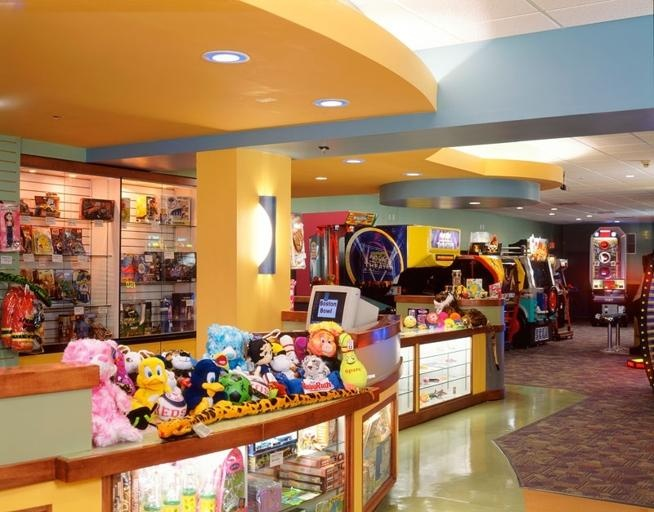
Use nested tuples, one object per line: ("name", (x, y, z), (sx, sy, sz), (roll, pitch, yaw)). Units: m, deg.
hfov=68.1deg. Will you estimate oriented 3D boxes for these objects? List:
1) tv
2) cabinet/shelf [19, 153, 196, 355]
("tv", (0.193, 0.414, 4.288), (0.469, 0.311, 0.459), (2, -3, -43))
("cabinet/shelf", (-2.874, -0.056, 6.147), (1.106, 2.370, 2.831), (-3, -5, 38))
